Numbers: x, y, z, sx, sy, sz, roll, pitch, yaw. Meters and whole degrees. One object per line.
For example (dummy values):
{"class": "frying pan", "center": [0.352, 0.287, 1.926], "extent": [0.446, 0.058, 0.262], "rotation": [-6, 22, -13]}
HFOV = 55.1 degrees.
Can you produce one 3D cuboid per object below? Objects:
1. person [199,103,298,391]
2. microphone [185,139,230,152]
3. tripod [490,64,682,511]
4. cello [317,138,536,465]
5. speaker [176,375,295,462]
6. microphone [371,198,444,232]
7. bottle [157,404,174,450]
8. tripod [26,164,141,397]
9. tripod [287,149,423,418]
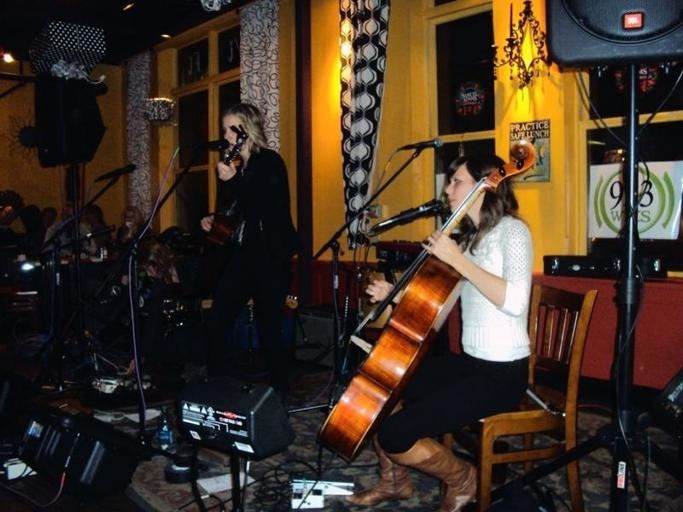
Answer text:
{"class": "person", "center": [-0.605, -0.011, 4.170], "extent": [0.620, 1.862, 0.547], "rotation": [-5, 13, -44]}
{"class": "microphone", "center": [-0.750, -0.627, 3.711], "extent": [0.167, 0.080, 0.237], "rotation": [8, 5, 35]}
{"class": "tripod", "center": [1.220, 0.207, 3.017], "extent": [0.502, 1.618, 0.708], "rotation": [7, 4, 35]}
{"class": "cello", "center": [0.432, 0.166, 3.164], "extent": [0.334, 1.505, 0.575], "rotation": [31, 23, 19]}
{"class": "speaker", "center": [-0.483, 0.703, 2.944], "extent": [0.435, 0.343, 0.288], "rotation": [4, 9, 26]}
{"class": "microphone", "center": [0.491, -0.300, 4.874], "extent": [0.573, 0.185, 0.161], "rotation": [-20, -54, 33]}
{"class": "bottle", "center": [-1.036, 1.029, 3.887], "extent": [0.106, 0.197, 0.242], "rotation": [3, 4, -15]}
{"class": "tripod", "center": [-2.084, 0.105, 5.195], "extent": [0.558, 1.661, 2.611], "rotation": [3, 4, -24]}
{"class": "tripod", "center": [0.114, 0.162, 4.806], "extent": [1.109, 1.736, 1.238], "rotation": [-5, 30, 1]}
